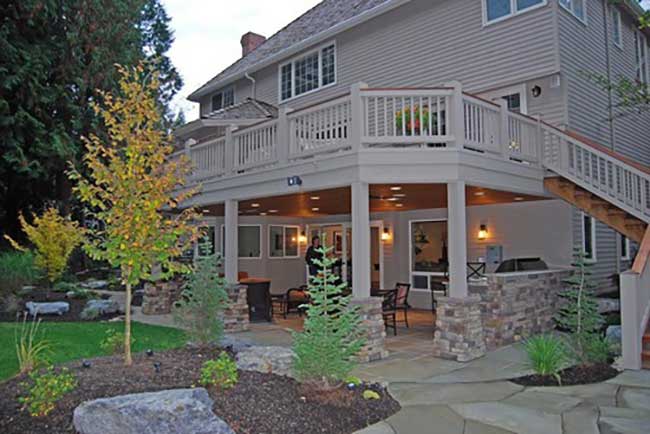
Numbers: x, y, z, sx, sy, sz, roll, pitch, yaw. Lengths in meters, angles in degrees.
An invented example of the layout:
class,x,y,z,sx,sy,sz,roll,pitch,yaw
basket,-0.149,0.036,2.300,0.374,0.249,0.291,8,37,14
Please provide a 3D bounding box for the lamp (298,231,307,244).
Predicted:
class,x,y,z,sx,sy,sz,roll,pitch,yaw
lamp,-0.993,0.881,20.750,0.340,0.559,0.224,4,15,-4

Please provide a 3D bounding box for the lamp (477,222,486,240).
class,x,y,z,sx,sy,sz,roll,pitch,yaw
lamp,5.199,0.499,15.815,0.281,0.514,0.192,8,15,11

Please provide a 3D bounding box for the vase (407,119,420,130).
class,x,y,z,sx,sy,sz,roll,pitch,yaw
vase,2.181,-2.212,11.718,0.371,0.222,0.344,-2,-7,11

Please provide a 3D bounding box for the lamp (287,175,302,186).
class,x,y,z,sx,sy,sz,roll,pitch,yaw
lamp,-0.789,-0.918,12.369,0.256,0.302,0.477,0,-2,-37

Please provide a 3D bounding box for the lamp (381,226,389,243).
class,x,y,z,sx,sy,sz,roll,pitch,yaw
lamp,2.224,0.652,17.579,0.105,0.578,0.406,-7,19,-40
